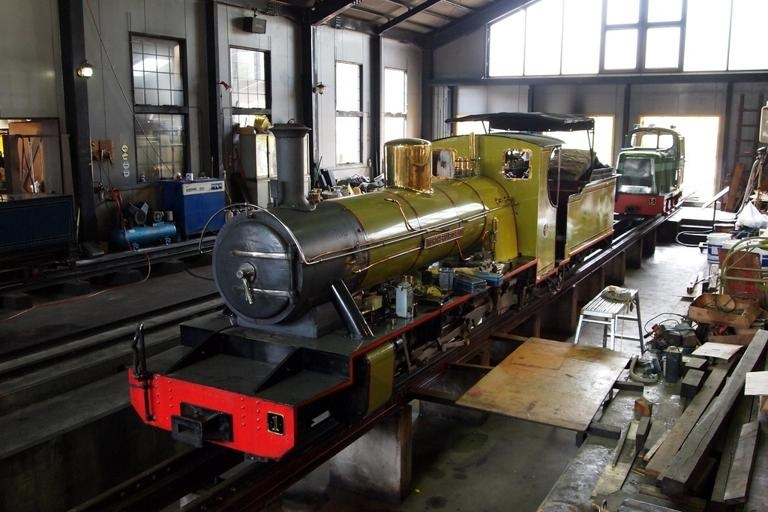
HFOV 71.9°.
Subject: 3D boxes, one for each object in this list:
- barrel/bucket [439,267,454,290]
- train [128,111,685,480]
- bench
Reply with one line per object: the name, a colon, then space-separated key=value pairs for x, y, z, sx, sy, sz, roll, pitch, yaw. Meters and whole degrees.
barrel/bucket: x=0.788 y=0.236 z=6.480 sx=0.208 sy=0.315 sz=0.264 roll=3 pitch=13 yaw=13
train: x=0.748 y=-0.429 z=7.668 sx=2.451 sy=2.994 sz=8.477 roll=10 pitch=19 yaw=40
bench: x=3.809 y=1.091 z=8.944 sx=0.462 sy=0.773 sz=0.930 roll=6 pitch=20 yaw=29
